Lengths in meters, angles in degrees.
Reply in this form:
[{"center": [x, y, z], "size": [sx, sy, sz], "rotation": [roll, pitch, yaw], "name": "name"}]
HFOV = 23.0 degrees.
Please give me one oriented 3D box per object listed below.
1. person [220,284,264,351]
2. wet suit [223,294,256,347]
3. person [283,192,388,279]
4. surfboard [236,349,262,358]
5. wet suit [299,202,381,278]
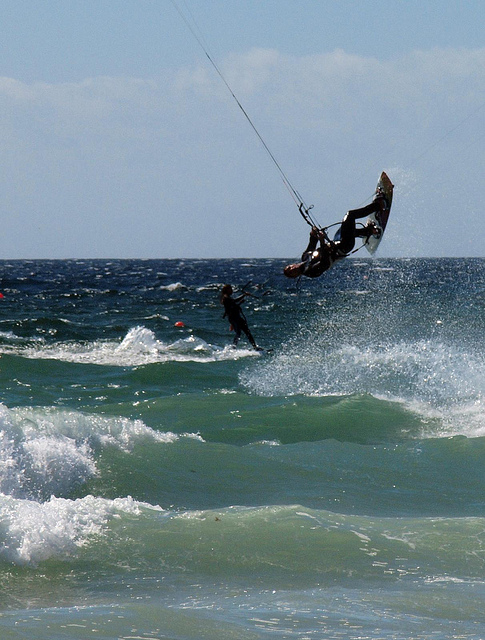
[{"center": [-0.014, -0.049, 26.329], "size": [1.048, 0.521, 2.318], "rotation": [-1, -25, 15], "name": "person"}, {"center": [-0.089, 0.019, 24.440], "size": [0.631, 0.379, 1.573], "rotation": [2, -19, 14], "name": "wet suit"}, {"center": [1.359, -1.145, 16.708], "size": [0.727, 1.042, 1.836], "rotation": [13, 15, 42], "name": "person"}, {"center": [0.120, 0.629, 23.748], "size": [0.502, 0.085, 1.147], "rotation": [2, 10, 0], "name": "surfboard"}, {"center": [1.292, -1.086, 16.541], "size": [0.956, 1.050, 1.330], "rotation": [4, 11, 9], "name": "wet suit"}]
